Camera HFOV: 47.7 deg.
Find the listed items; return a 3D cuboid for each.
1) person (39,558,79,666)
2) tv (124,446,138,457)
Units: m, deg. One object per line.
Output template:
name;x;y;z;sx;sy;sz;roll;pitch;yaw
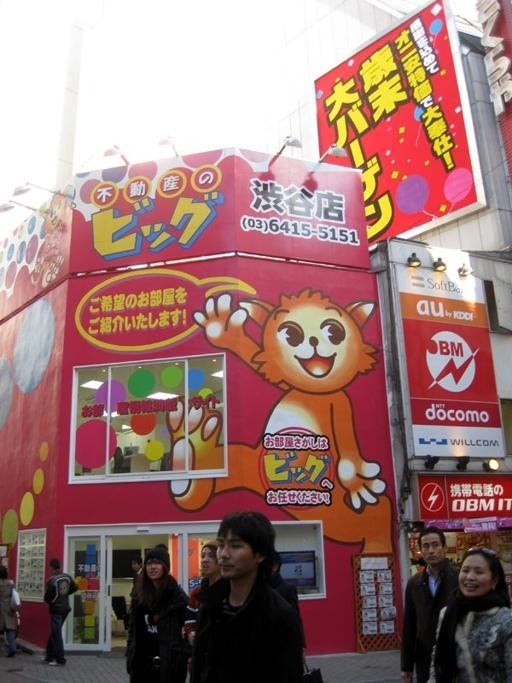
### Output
person;-3.196;4.384;9.404;0.478;1.579;0.573;4;-21;-15
tv;-2.328;2.040;10.789;0.304;0.278;0.153;-4;-8;-2
